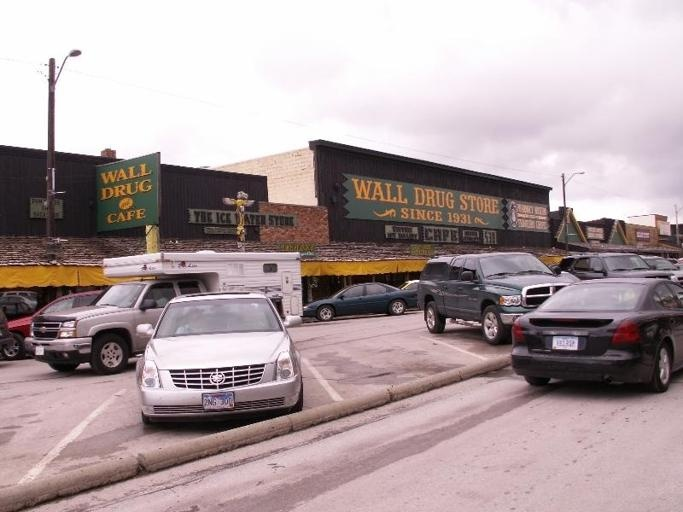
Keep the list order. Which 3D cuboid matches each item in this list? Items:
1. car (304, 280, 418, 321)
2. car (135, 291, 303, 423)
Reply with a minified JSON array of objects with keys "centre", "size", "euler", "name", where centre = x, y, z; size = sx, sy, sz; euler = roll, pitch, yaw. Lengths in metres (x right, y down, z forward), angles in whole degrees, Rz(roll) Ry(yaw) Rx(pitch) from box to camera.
[{"centre":[0.958,2.155,26.072],"size":[5.494,1.401,2.147],"euler":[0,-4,-9],"name":"car"},{"centre":[-1.878,1.583,7.873],"size":[2.254,1.422,2.061],"euler":[-3,-2,-20],"name":"car"}]
